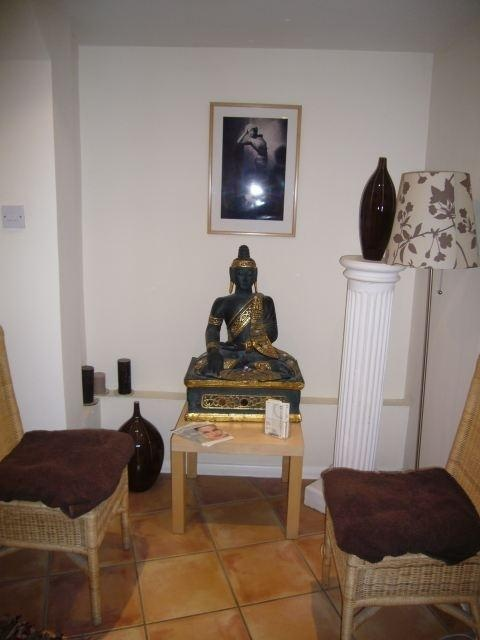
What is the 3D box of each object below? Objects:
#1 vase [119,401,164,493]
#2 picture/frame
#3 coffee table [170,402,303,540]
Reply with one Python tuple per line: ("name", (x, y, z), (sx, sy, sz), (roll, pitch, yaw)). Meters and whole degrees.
("vase", (-0.561, 0.656, 2.674), (0.260, 0.425, 0.253), (8, -9, -29))
("picture/frame", (0.070, -0.789, 2.629), (0.591, 0.771, 0.030), (2, 15, -1))
("coffee table", (0.011, 0.587, 2.444), (0.566, 0.440, 0.587), (1, 7, 6))
